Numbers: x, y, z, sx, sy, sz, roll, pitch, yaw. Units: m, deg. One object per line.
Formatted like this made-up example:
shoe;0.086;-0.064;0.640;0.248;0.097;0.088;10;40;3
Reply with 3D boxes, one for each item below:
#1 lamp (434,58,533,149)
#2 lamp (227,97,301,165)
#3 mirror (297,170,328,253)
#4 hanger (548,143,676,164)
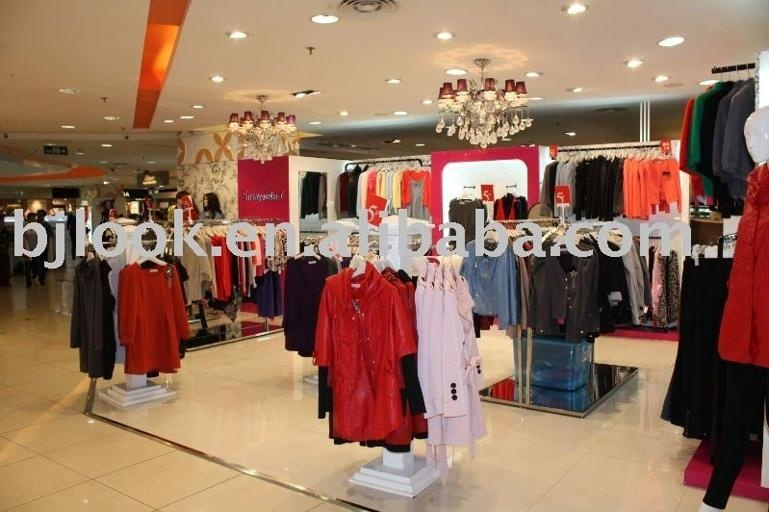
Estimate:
lamp;1.515;-2.290;8.228;1.369;1.315;1.328;3;7;29
lamp;-2.217;-2.272;9.702;1.058;1.082;1.102;1;5;20
mirror;-1.526;-0.973;11.316;0.589;1.633;0.015;3;-16;-15
hanger;3.941;-1.773;9.270;1.889;0.306;1.027;2;8;23
